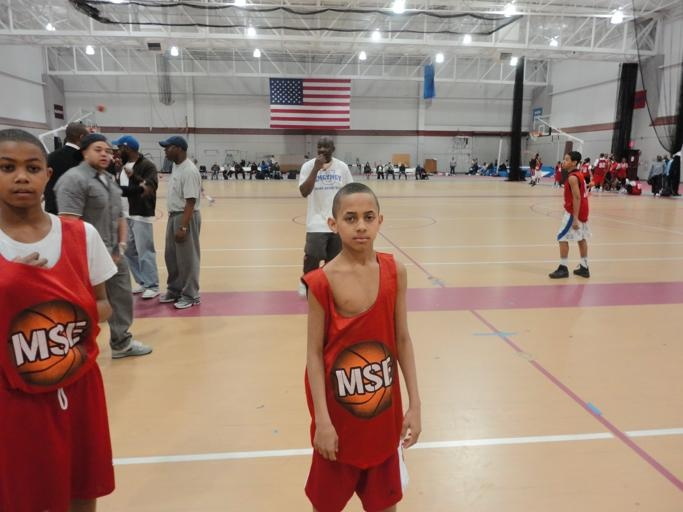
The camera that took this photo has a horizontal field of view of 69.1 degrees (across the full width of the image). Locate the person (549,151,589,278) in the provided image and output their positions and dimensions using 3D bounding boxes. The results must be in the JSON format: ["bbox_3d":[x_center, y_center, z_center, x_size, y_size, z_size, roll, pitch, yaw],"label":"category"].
[{"bbox_3d":[3.354,-0.630,7.090,0.506,1.760,1.277,5,10,26],"label":"person"}]

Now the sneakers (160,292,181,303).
[{"bbox_3d":[-2.005,0.496,5.711,0.278,0.143,0.104,11,-5,-28],"label":"sneakers"}]

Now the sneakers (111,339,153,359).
[{"bbox_3d":[-1.869,0.843,4.456,0.364,0.178,0.142,-1,1,-19],"label":"sneakers"}]

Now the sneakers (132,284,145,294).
[{"bbox_3d":[-2.463,0.413,5.965,0.101,0.093,0.224,1,-8,2],"label":"sneakers"}]

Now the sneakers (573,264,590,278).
[{"bbox_3d":[3.354,0.210,6.984,0.109,0.216,0.325,-3,9,-17],"label":"sneakers"}]

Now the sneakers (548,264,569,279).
[{"bbox_3d":[2.982,0.207,6.891,0.296,0.237,0.158,0,-2,3],"label":"sneakers"}]

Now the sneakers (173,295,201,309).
[{"bbox_3d":[-1.746,0.527,5.600,0.112,0.155,0.295,-4,-11,37],"label":"sneakers"}]

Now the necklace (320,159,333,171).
[{"bbox_3d":[-0.174,-0.984,5.300,0.099,0.130,0.141,-3,-28,-1],"label":"necklace"}]
